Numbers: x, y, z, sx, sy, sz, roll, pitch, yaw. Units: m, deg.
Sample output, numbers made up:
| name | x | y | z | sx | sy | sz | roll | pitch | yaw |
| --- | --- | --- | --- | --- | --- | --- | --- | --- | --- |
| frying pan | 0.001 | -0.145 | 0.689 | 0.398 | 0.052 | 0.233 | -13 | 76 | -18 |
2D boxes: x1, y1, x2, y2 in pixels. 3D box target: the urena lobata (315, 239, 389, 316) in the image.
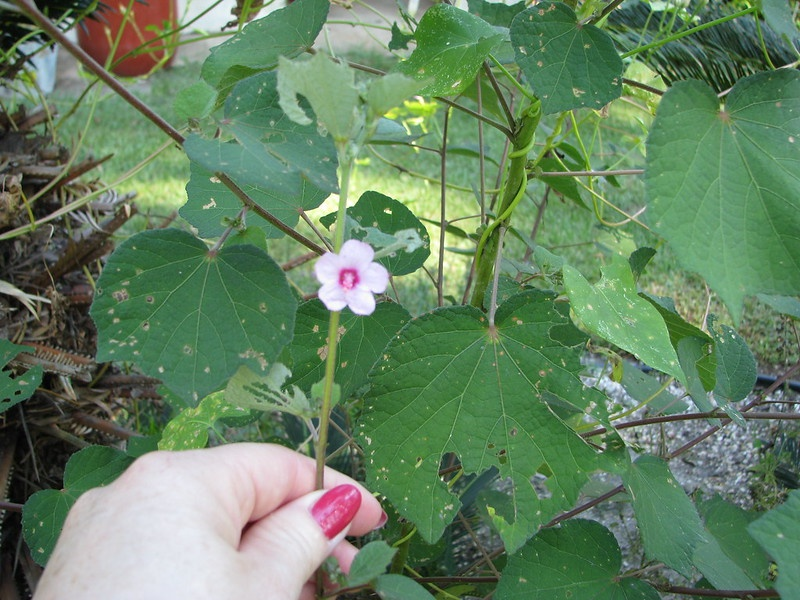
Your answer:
| name | x | y | z | sx | sy | sz | roll | pitch | yaw |
| --- | --- | --- | --- | --- | --- | --- | --- | --- | --- |
| urena lobata | -0.075 | -0.031 | 1.049 | 0.110 | 0.119 | 0.058 | 10 | 7 | -2 |
